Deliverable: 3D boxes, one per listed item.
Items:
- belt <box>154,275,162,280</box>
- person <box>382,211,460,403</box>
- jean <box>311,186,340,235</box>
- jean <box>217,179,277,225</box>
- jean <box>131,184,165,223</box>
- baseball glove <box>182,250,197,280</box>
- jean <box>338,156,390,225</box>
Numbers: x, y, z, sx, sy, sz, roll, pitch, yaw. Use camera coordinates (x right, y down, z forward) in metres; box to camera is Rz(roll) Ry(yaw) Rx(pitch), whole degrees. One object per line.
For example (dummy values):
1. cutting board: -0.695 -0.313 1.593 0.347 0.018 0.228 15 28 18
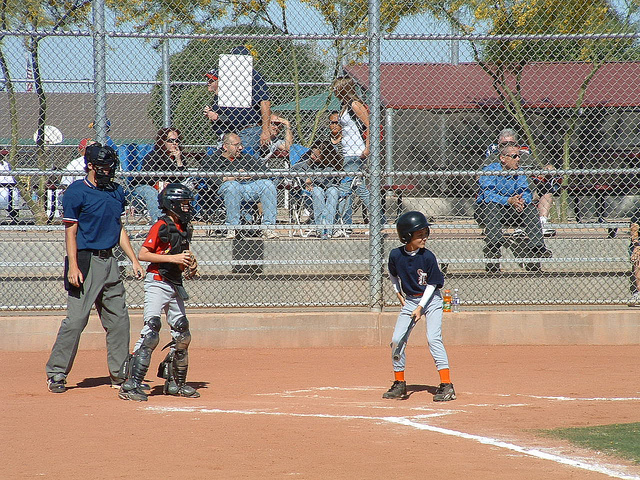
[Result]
1. belt: -1.704 0.392 10.916 0.079 0.034 0.013 -1 14 -7
2. person: 1.121 0.647 11.415 0.789 2.072 1.573 1 14 5
3. jean: 0.048 -0.410 13.770 0.363 0.566 0.185 1 7 3
4. jean: -0.998 -0.489 13.755 0.941 0.580 0.669 -3 3 -39
5. jean: -2.293 -0.552 14.005 0.648 0.588 0.234 -7 -2 39
6. baseball glove: -1.339 0.252 11.043 0.235 0.258 0.118 -1 4 45
7. jean: 0.555 -0.658 13.869 0.607 0.922 1.395 -1 13 -4
